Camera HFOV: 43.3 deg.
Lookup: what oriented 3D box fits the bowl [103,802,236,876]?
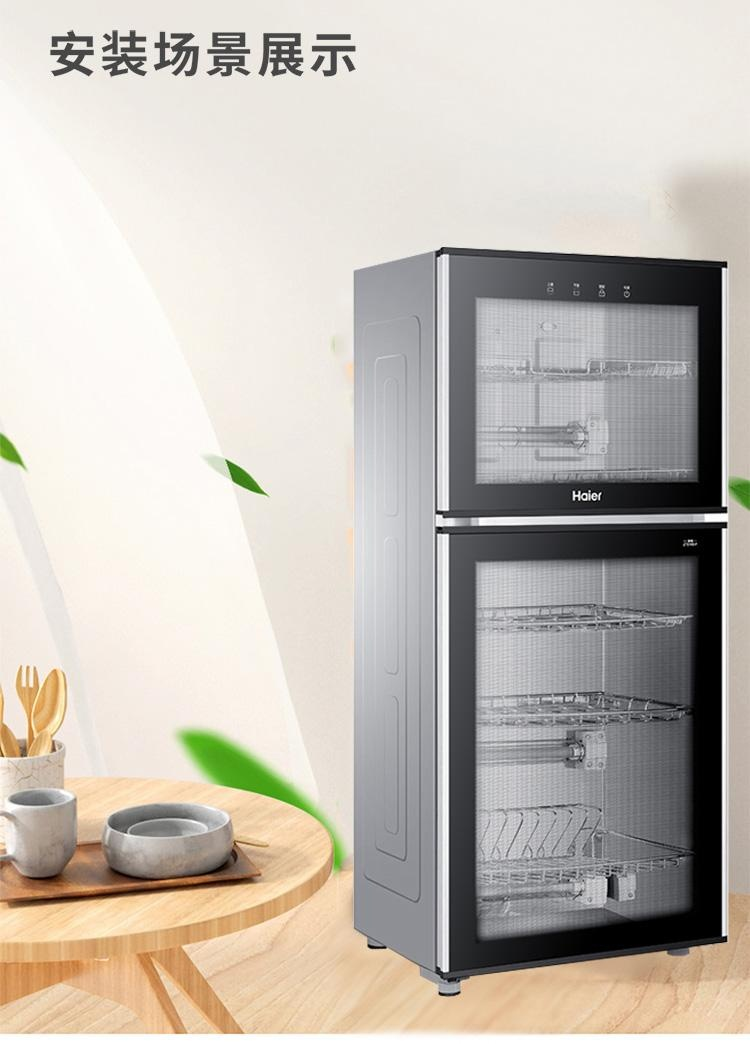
[{"bbox_3d":[-0.241,0.364,1.083,0.135,0.051,0.147,1,-2,0],"label":"bowl"}]
